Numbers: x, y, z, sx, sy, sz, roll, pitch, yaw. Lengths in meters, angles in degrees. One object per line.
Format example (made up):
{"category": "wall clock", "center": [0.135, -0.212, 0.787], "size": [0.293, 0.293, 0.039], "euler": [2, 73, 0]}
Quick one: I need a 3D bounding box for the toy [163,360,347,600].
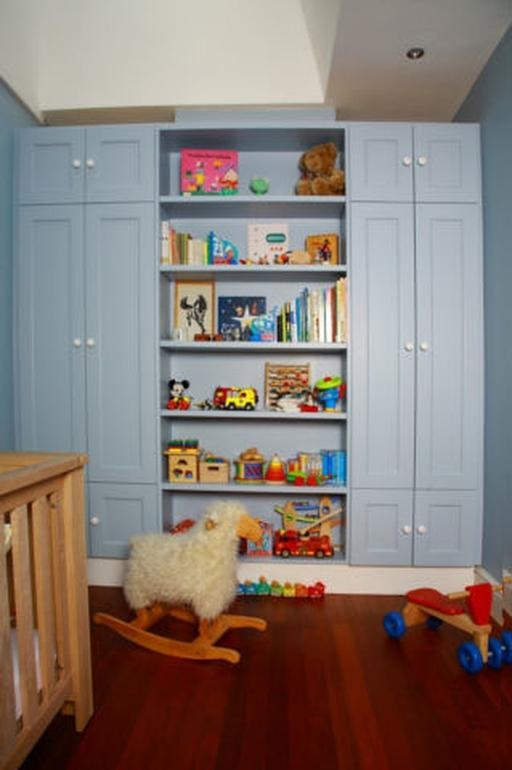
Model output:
{"category": "toy", "center": [0.026, 0.434, 2.583], "size": [0.851, 1.122, 0.314], "euler": [0, -4, 1]}

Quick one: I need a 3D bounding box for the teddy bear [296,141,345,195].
{"category": "teddy bear", "center": [0.292, -0.974, 2.674], "size": [0.226, 0.263, 0.064], "euler": [3, 8, 24]}

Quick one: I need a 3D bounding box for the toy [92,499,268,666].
{"category": "toy", "center": [-0.197, 0.668, 2.238], "size": [0.635, 0.686, 0.369], "euler": [2, -1, 20]}
